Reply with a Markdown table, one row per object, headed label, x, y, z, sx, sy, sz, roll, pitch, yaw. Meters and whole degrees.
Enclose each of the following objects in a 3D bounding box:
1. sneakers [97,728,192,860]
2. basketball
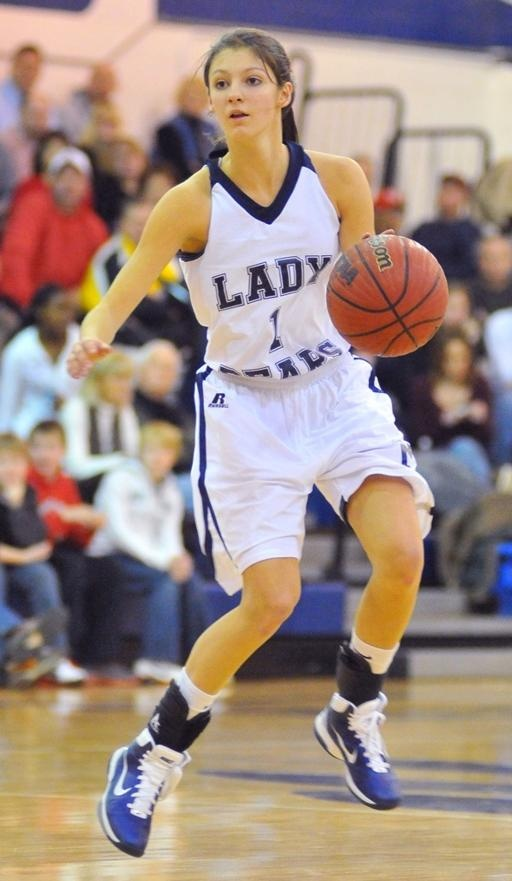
| label | x | y | z | sx | sy | sz | roll | pitch | yaw |
| --- | --- | --- | --- | --- | --- | --- | --- | --- | --- |
| sneakers | -0.181 | 0.547 | 1.488 | 0.143 | 0.079 | 0.230 | -49 | 16 | 6 |
| basketball | 0.217 | -0.239 | 1.556 | 0.201 | 0.189 | 0.154 | -30 | 49 | -24 |
